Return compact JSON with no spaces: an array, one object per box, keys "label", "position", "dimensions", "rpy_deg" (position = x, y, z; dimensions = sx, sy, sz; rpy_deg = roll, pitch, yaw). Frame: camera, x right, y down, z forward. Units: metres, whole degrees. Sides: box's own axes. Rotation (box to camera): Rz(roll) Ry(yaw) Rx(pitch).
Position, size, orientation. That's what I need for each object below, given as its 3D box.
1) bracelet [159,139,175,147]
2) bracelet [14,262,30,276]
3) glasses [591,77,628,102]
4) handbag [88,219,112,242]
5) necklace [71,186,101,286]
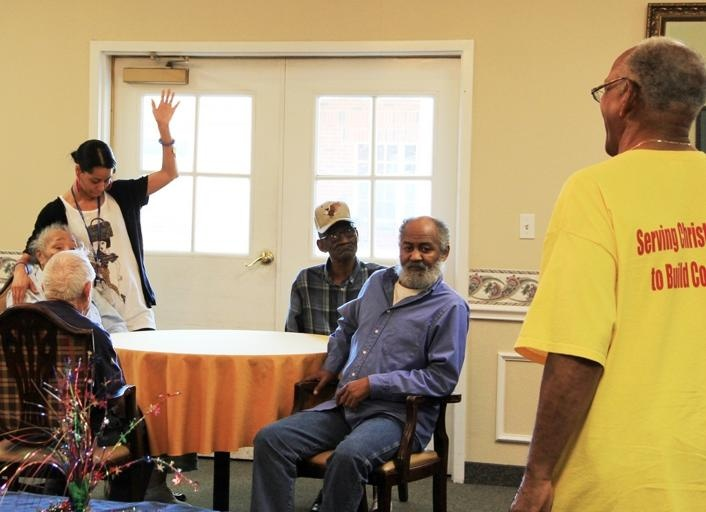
[{"label":"bracelet","position":[-0.984,-0.593,3.891],"dimensions":[0.054,0.015,0.057],"rpy_deg":[-9,-9,21]},{"label":"bracelet","position":[-1.607,0.064,3.583],"dimensions":[0.051,0.078,0.041],"rpy_deg":[6,4,0]},{"label":"glasses","position":[0.687,-0.454,1.983],"dimensions":[0.077,0.024,0.077],"rpy_deg":[-29,0,2]},{"label":"handbag","position":[-1.276,-0.129,3.702],"dimensions":[0.088,0.093,0.037],"rpy_deg":[-7,17,-9]},{"label":"necklace","position":[-1.330,-0.111,3.693],"dimensions":[0.139,0.481,0.022],"rpy_deg":[-16,9,-18]}]
